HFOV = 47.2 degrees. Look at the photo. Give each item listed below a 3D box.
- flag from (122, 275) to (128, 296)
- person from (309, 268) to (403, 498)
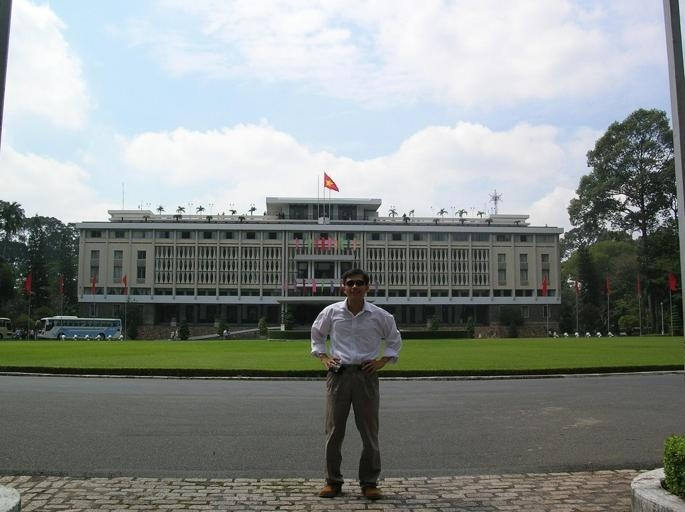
[{"bbox_3d":[-22.540,3.054,81.538,0.505,2.008,3.684,1,-6,-16],"label":"flag"},{"bbox_3d":[0.150,1.820,11.345,1.232,3.244,0.545,0,-5,-1],"label":"person"}]
